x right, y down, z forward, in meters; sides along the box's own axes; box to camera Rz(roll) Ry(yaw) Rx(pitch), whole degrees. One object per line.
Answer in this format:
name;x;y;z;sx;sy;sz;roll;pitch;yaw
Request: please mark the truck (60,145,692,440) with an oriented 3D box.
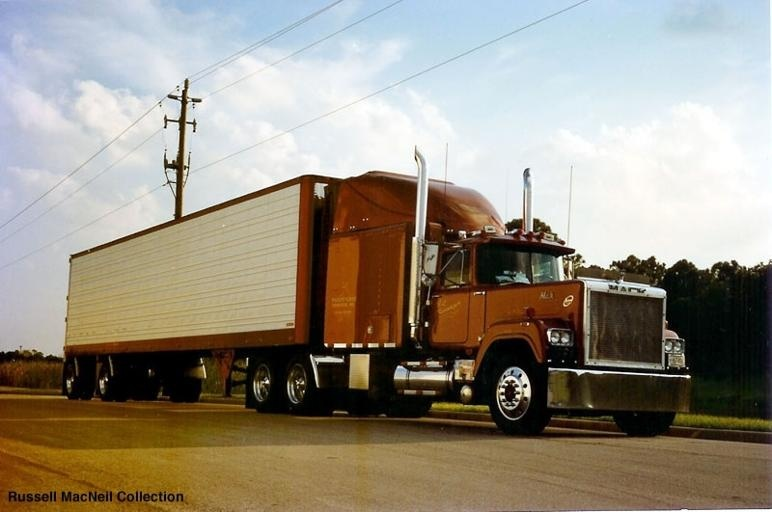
truck;-2.632;1.872;20.420;18.725;6.124;4.396;-7;-12;36
